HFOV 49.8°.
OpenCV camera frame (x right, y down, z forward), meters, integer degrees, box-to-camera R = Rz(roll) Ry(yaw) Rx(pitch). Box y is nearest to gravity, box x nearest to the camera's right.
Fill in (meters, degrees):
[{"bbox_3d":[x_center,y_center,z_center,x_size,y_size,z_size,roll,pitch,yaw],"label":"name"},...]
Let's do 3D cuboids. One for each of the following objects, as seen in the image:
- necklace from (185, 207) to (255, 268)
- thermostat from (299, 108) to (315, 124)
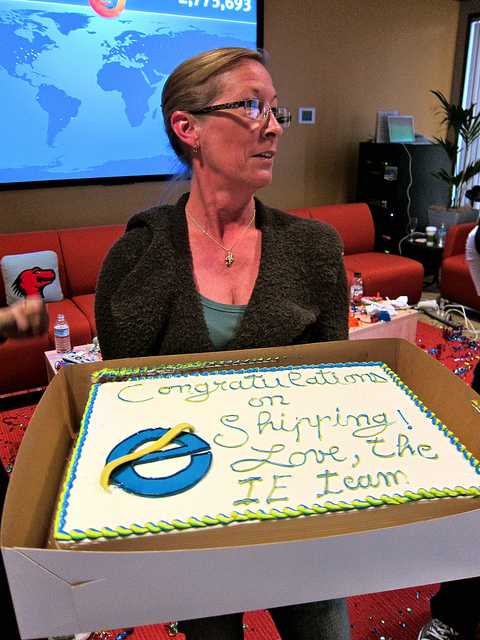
[{"bbox_3d":[-0.043,-0.164,1.040,0.142,0.131,0.006,2,-21,-22],"label":"necklace"},{"bbox_3d":[0.566,-1.767,4.448,0.154,0.127,0.016,-6,13,-25],"label":"thermostat"}]
